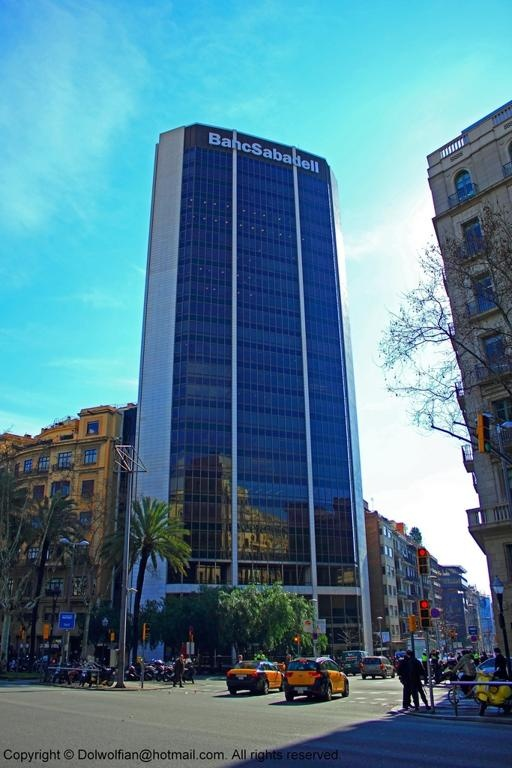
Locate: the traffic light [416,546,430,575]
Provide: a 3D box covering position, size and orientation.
[{"bbox_3d":[4.972,5.255,16.392,0.315,0.781,1.016,-9,-23,14],"label":"traffic light"}]

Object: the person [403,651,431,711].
[{"bbox_3d":[4.759,8.919,16.661,0.657,1.612,2.368,-9,-23,13],"label":"person"}]

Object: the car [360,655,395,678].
[{"bbox_3d":[9.214,21.513,41.988,1.824,1.488,3.145,-6,-19,19],"label":"car"}]

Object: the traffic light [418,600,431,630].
[{"bbox_3d":[4.975,6.733,16.211,0.270,0.740,0.603,-4,-22,3],"label":"traffic light"}]

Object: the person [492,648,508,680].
[{"bbox_3d":[7.779,8.936,17.549,0.447,0.750,1.417,-11,-23,19],"label":"person"}]

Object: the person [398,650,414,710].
[{"bbox_3d":[4.572,8.850,16.535,0.356,1.231,0.344,7,-26,-4],"label":"person"}]

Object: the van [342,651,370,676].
[{"bbox_3d":[7.942,22.760,44.922,1.551,1.525,2.738,-3,-17,14],"label":"van"}]
